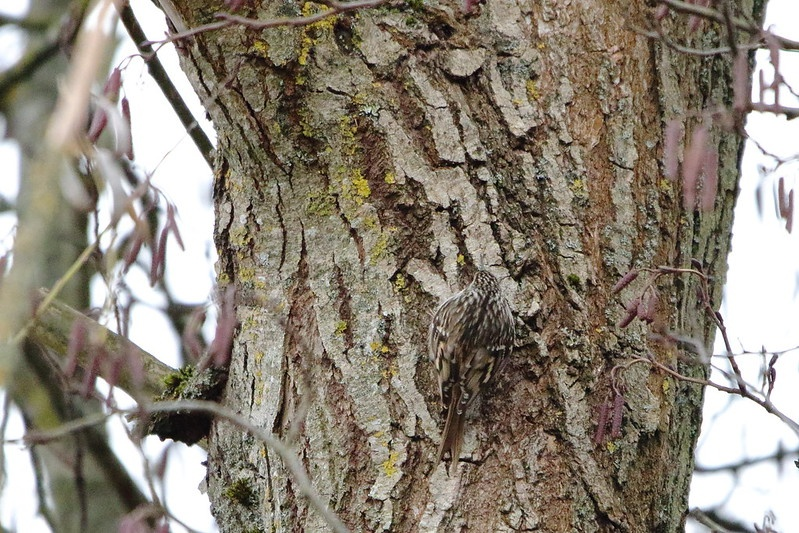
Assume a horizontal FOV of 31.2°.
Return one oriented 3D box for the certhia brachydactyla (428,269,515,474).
[{"bbox_3d":[0.327,0.508,6.753,0.327,1.006,0.363,11,-23,13],"label":"certhia brachydactyla"}]
